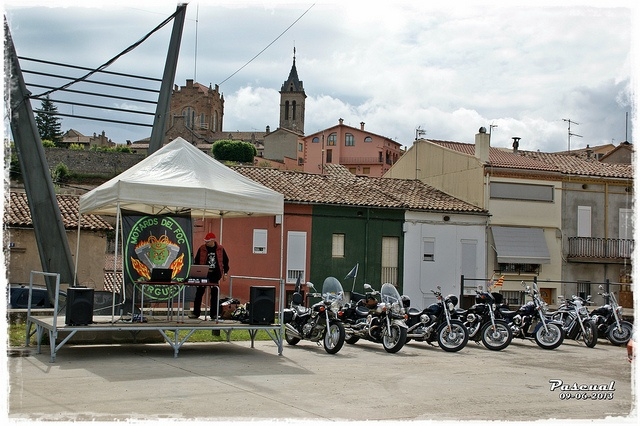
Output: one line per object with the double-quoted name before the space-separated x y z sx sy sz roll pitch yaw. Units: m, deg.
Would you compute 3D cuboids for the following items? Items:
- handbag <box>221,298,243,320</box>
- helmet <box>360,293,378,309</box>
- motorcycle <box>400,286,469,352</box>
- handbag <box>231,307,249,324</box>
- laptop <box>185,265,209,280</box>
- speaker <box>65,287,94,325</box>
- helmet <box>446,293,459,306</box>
"handbag" -2.617 2.816 28.428 0.730 0.733 0.513 0 -2 -18
"helmet" 1.562 2.746 30.044 0.312 0.352 0.627 5 -7 2
"motorcycle" 3.592 3.219 29.402 1.952 1.816 0.736 7 10 26
"handbag" -2.301 2.918 27.888 0.454 0.352 1.249 2 9 -8
"laptop" -3.307 1.614 26.490 0.550 0.355 0.371 2 11 -13
"speaker" -6.385 2.481 25.758 0.698 0.971 0.411 0 10 -16
"helmet" 4.054 2.682 29.603 0.337 0.368 0.421 -1 11 1
